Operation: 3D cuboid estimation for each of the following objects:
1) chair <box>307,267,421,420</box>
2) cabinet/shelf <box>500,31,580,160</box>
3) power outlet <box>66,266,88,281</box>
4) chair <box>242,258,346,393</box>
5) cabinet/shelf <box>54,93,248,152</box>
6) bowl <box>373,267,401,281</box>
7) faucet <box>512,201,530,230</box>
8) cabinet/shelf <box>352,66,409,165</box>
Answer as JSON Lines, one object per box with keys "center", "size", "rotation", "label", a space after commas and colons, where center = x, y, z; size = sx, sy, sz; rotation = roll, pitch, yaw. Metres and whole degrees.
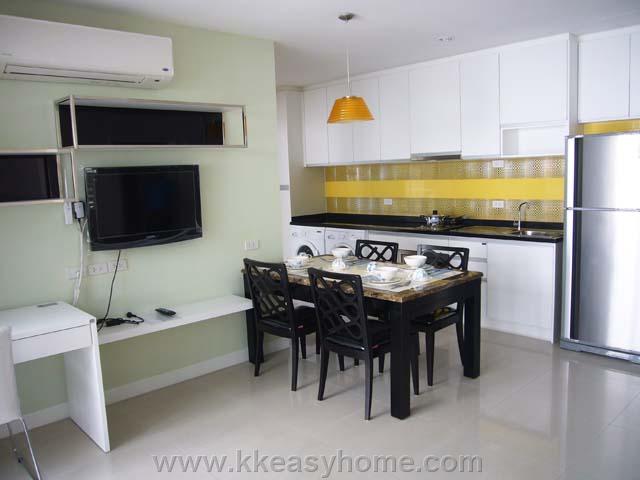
{"center": [0.359, 0.748, 3.770], "size": [0.645, 1.096, 0.704], "rotation": [4, 11, 42], "label": "chair"}
{"center": [2.245, -1.477, 4.901], "size": [0.765, 1.179, 0.262], "rotation": [8, 16, 39], "label": "cabinet/shelf"}
{"center": [-1.910, 0.253, 3.664], "size": [0.108, 0.064, 0.014], "rotation": [-8, 14, -42], "label": "power outlet"}
{"center": [-0.250, 0.691, 4.240], "size": [0.637, 1.061, 0.669], "rotation": [2, 8, 34], "label": "chair"}
{"center": [-1.291, -0.919, 3.764], "size": [0.337, 0.356, 1.436], "rotation": [7, 14, 42], "label": "cabinet/shelf"}
{"center": [0.513, 0.260, 3.693], "size": [0.134, 0.055, 0.116], "rotation": [-3, 7, 0], "label": "bowl"}
{"center": [2.239, -0.275, 5.300], "size": [0.144, 0.311, 0.264], "rotation": [6, 14, 33], "label": "faucet"}
{"center": [0.725, -1.586, 6.124], "size": [0.815, 1.005, 0.335], "rotation": [-8, 33, -6], "label": "cabinet/shelf"}
